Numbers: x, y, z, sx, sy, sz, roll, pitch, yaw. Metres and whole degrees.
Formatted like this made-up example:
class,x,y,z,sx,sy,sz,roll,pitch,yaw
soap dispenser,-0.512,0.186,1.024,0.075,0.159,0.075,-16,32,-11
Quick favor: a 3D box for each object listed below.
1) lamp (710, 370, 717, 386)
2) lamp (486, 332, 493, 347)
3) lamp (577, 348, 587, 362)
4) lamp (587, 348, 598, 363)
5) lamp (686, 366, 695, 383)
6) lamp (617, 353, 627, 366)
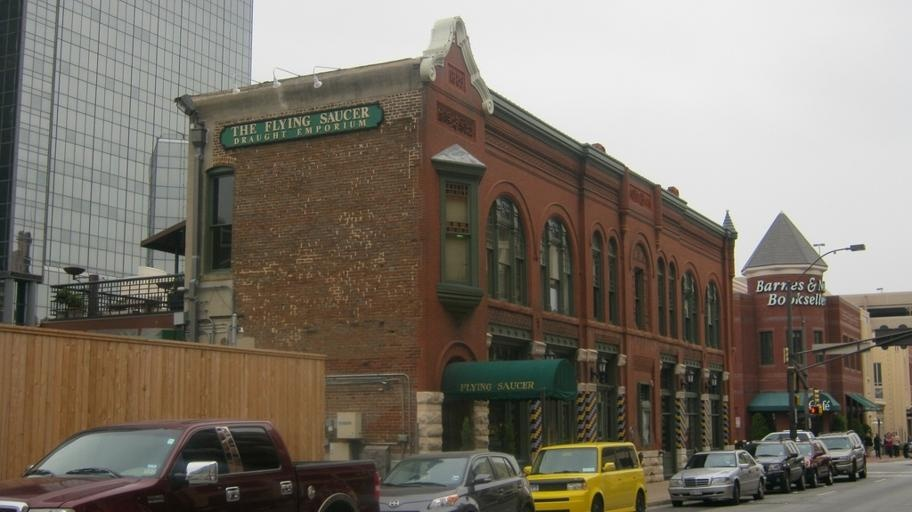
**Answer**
class,x,y,z,sx,sy,sz,roll,pitch,yaw
lamp,19.005,9.015,89.558,0.384,0.958,1.224,-9,-16,31
lamp,1.894,4.805,69.829,0.342,0.835,0.952,-3,-14,9
lamp,7.782,6.140,75.376,0.775,0.726,0.231,10,-17,-40
lamp,8.567,6.210,76.088,0.300,0.841,1.163,-6,-14,20
lamp,16.591,8.462,86.133,0.295,1.127,1.507,-8,-15,29
lamp,10.691,6.733,78.374,0.699,0.808,0.744,-14,-20,35
